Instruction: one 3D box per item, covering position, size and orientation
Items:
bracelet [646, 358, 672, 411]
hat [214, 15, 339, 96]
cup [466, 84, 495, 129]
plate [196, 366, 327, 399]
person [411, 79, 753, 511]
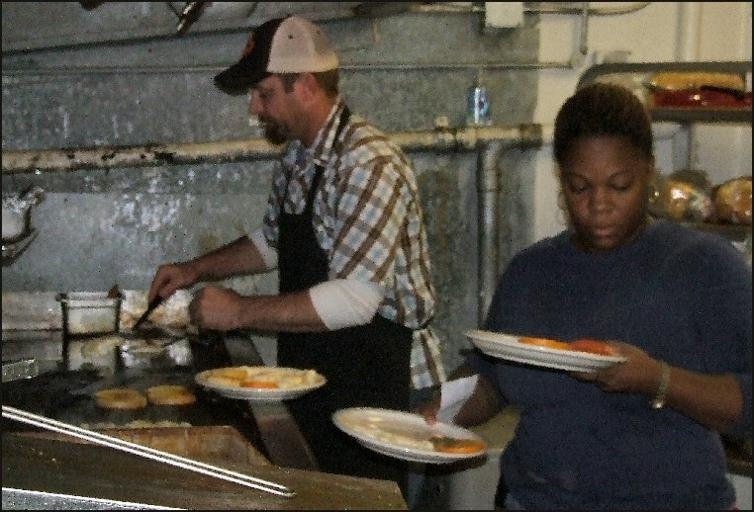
[{"bbox_3d":[1.189,0.556,3.799,0.051,0.151,0.151,9,-10,9],"label":"bracelet"},{"bbox_3d":[-0.535,-1.071,4.953,0.593,0.309,0.371,-2,18,2],"label":"hat"},{"bbox_3d":[0.681,-1.004,6.147,0.193,0.263,0.083,1,6,15],"label":"cup"},{"bbox_3d":[-0.549,0.613,4.346,0.604,0.112,0.425,-1,2,11],"label":"plate"},{"bbox_3d":[0.975,0.188,4.004,1.184,1.877,0.481,0,3,36],"label":"person"}]
